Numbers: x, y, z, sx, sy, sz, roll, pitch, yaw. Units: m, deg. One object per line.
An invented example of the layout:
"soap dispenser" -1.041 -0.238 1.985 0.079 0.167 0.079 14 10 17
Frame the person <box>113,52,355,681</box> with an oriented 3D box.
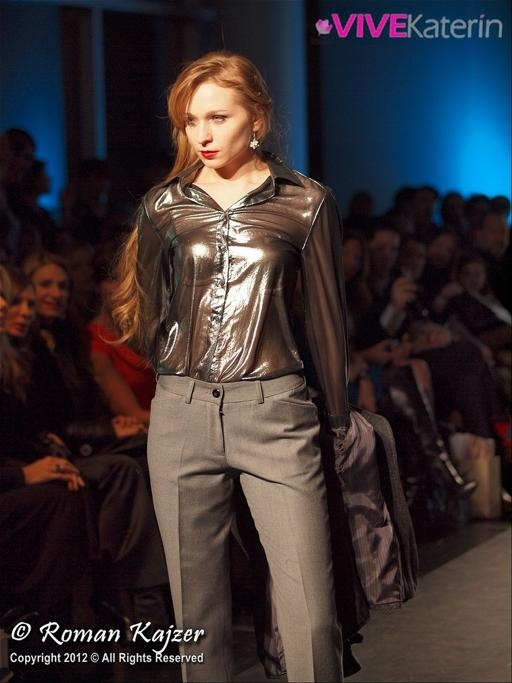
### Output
"person" -0.060 0.083 1.643 0.559 1.491 0.344 -3 9 6
